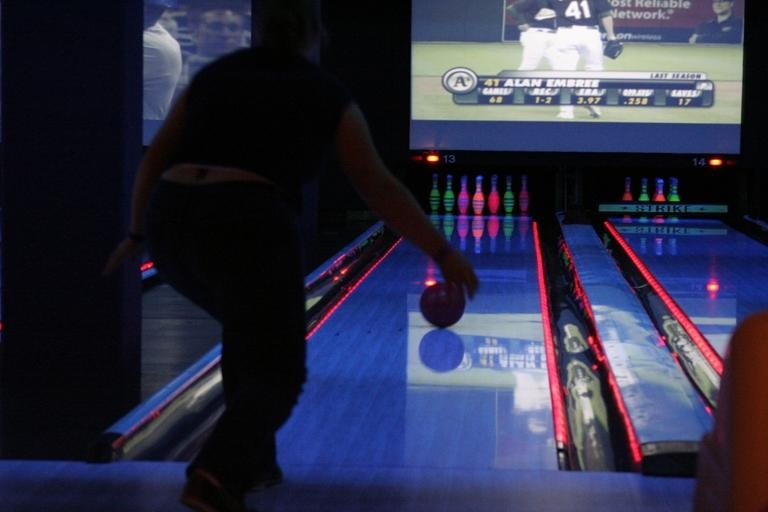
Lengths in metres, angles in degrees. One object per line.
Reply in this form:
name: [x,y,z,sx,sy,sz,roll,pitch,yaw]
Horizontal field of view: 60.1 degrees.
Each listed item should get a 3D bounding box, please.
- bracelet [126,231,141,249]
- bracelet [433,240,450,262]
bracelet: [-0.671,-0.048,1.803,0.033,0.031,0.034,-26,38,7]
bracelet: [0.147,-0.013,1.654,0.014,0.041,0.042,41,5,-13]
